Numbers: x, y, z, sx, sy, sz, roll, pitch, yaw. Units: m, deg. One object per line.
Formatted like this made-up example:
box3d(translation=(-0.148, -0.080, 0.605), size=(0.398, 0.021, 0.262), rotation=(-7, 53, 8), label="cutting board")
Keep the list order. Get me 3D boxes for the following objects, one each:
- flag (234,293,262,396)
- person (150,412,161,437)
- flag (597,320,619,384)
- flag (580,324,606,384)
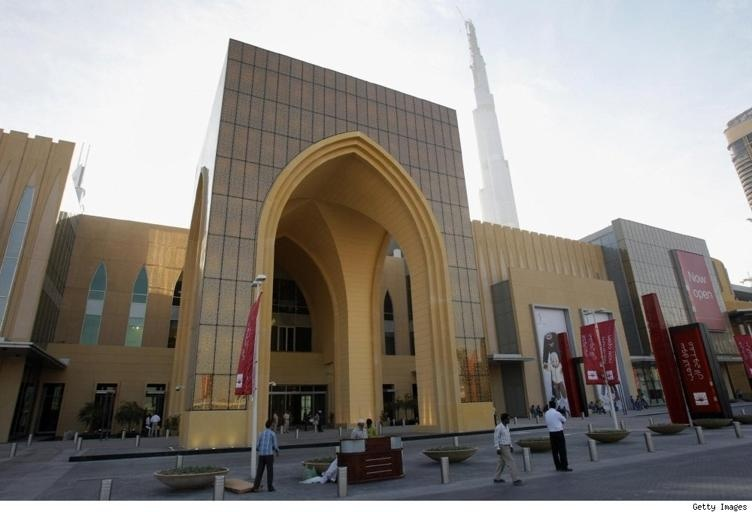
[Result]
box3d(translation=(-5.237, 3.492, 16.797), size=(0.695, 3.931, 1.455), rotation=(4, -22, -19), label="flag")
box3d(translation=(-17.573, 13.257, 32.384), size=(0.703, 1.468, 1.136), rotation=(8, -24, -27), label="person")
box3d(translation=(14.110, 5.624, 24.617), size=(1.175, 3.751, 1.456), rotation=(-15, -24, 29), label="flag")
box3d(translation=(13.392, 6.002, 25.297), size=(1.546, 3.627, 0.094), rotation=(-1, -12, -15), label="flag")
